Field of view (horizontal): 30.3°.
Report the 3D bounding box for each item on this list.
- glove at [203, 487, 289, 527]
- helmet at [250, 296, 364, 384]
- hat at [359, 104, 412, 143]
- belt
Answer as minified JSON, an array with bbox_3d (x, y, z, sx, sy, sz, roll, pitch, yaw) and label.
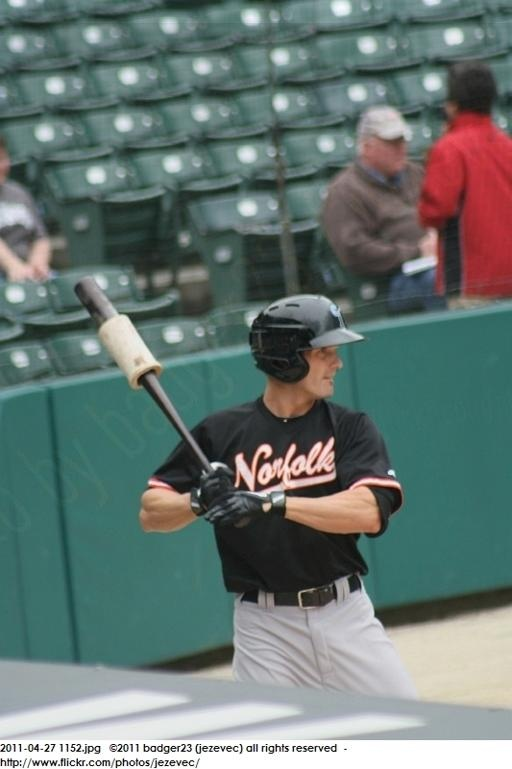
[{"bbox_3d":[-0.019,0.271,2.101,0.150,0.039,0.091,-2,9,-41],"label":"glove"},{"bbox_3d":[0.117,-0.122,2.424,0.277,0.178,0.214,1,3,18],"label":"helmet"},{"bbox_3d":[0.364,-0.760,2.853,0.108,0.128,0.127,-4,46,-24],"label":"hat"},{"bbox_3d":[0.122,0.517,2.339,0.309,0.051,0.111,-10,5,-10],"label":"belt"}]
